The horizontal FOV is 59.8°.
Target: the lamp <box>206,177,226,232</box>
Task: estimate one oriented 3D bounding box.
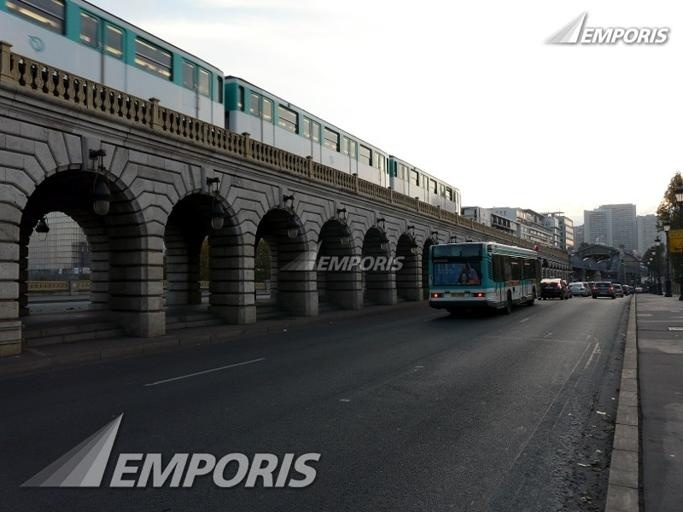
[{"bbox_3d":[-4.606,-1.955,21.757,0.577,1.909,2.364,-2,4,-11],"label":"lamp"}]

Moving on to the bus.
[{"bbox_3d":[6.915,0.911,28.297,2.323,3.005,9.066,-1,2,28],"label":"bus"}]

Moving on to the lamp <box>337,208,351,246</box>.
[{"bbox_3d":[0.129,-1.523,30.525,0.696,2.021,1.809,-1,4,0],"label":"lamp"}]

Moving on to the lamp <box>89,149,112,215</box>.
[{"bbox_3d":[-7.333,-2.250,18.004,0.501,1.910,3.419,-3,4,-22],"label":"lamp"}]

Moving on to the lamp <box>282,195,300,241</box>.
[{"bbox_3d":[-2.196,-1.709,25.774,0.657,2.053,3.154,-2,4,-4],"label":"lamp"}]

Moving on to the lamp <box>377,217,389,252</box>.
[{"bbox_3d":[2.414,-1.266,34.922,0.631,2.088,2.404,-1,4,5],"label":"lamp"}]
